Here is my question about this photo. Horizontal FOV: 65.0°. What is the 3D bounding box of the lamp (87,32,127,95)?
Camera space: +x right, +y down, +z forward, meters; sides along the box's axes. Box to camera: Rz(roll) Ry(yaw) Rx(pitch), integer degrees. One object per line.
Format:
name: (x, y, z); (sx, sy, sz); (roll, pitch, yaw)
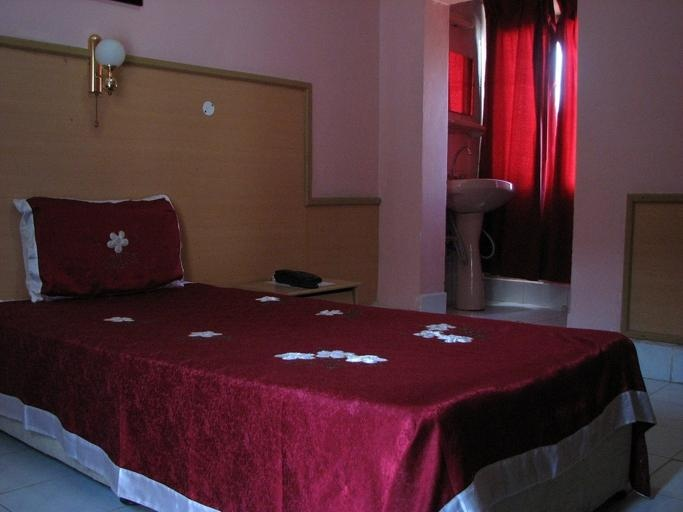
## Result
lamp: (-1.189, -0.970, 2.723); (0.180, 0.300, 0.243); (-3, 8, -22)

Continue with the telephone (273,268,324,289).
telephone: (-0.245, 0.133, 3.131); (0.174, 0.056, 0.135); (7, 8, 42)

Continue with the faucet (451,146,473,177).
faucet: (1.079, -0.856, 4.877); (0.106, 0.295, 0.357); (4, 8, 29)

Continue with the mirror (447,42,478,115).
mirror: (1.090, -1.563, 4.878); (0.111, 0.573, 0.425); (6, 10, 40)
